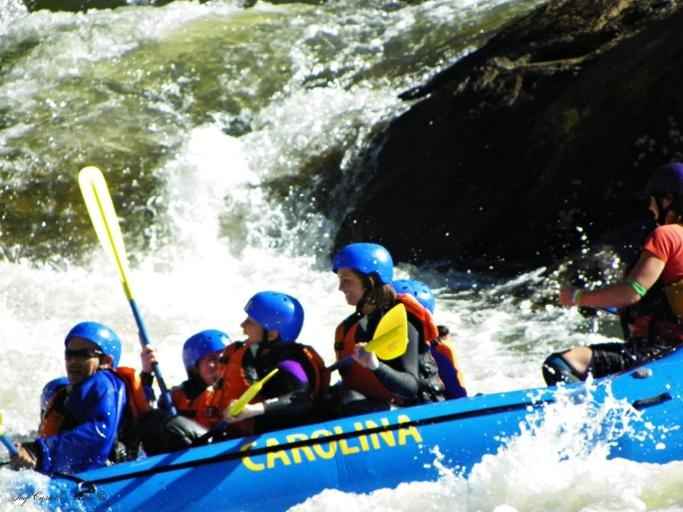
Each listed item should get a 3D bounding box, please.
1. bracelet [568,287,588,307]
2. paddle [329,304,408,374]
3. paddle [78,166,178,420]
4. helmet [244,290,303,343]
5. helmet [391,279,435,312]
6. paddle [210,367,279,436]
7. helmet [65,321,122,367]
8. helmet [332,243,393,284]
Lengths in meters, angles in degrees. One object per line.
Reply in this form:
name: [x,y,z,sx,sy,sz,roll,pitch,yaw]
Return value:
bracelet: [2.015,0.358,8.531,0.036,0.132,0.129,11,5,-6]
paddle: [0.171,0.758,8.027,0.954,0.435,0.104,-27,25,-36]
paddle: [-2.416,0.465,11.280,0.326,3.013,0.144,-19,4,-20]
helmet: [-0.575,0.530,8.597,0.545,0.410,0.411,11,8,-12]
helmet: [0.615,0.407,9.327,0.331,0.385,0.421,0,-3,-31]
paddle: [-0.777,1.219,8.268,0.099,0.689,0.095,48,15,26]
helmet: [-2.143,0.728,8.604,0.356,0.376,0.494,8,1,37]
helmet: [0.174,0.067,8.707,0.577,0.381,0.455,2,-2,-35]
